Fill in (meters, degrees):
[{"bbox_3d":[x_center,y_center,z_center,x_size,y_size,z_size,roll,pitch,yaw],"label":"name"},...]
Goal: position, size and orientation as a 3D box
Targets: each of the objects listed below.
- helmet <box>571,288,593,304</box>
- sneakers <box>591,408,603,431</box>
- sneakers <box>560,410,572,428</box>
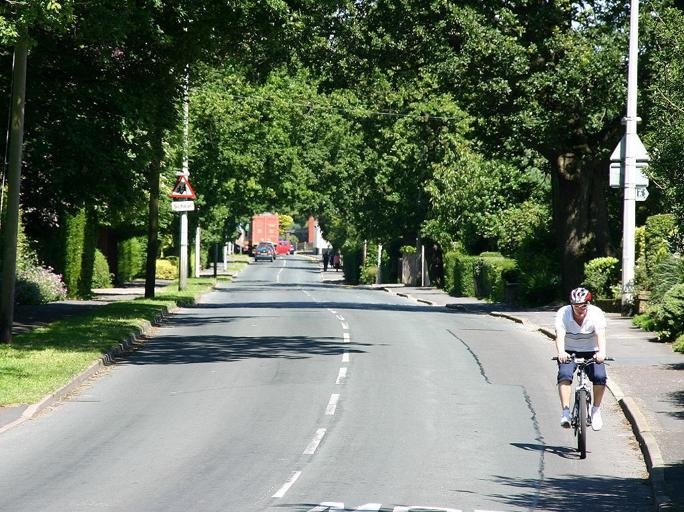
[{"bbox_3d":[3.561,0.568,15.700,0.225,0.155,0.347,-2,10,15],"label":"helmet"},{"bbox_3d":[3.781,2.343,15.702,0.172,0.481,0.194,-3,-40,9],"label":"sneakers"},{"bbox_3d":[3.287,2.349,15.449,0.135,0.234,0.267,0,-2,12],"label":"sneakers"}]
